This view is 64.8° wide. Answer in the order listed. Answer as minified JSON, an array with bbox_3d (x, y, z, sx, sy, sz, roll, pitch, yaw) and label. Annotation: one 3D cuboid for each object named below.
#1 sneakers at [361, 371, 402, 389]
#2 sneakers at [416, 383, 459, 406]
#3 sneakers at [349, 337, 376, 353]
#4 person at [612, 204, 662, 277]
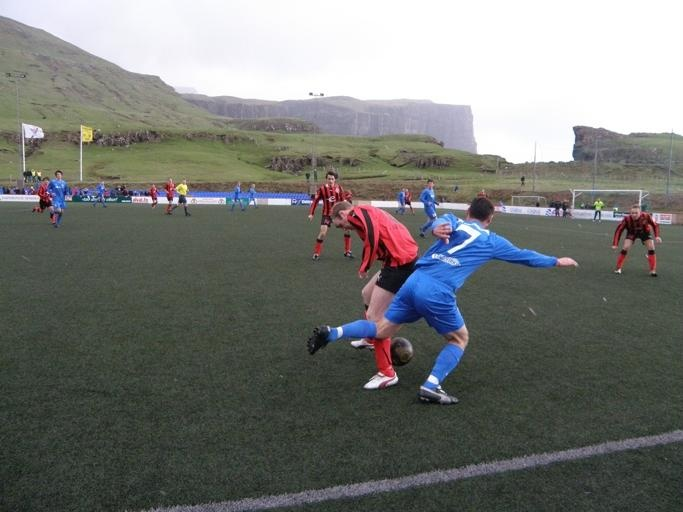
[{"bbox_3d":[0.462,1.385,6.080,0.409,0.198,0.149,-1,-3,-15],"label":"sneakers"},{"bbox_3d":[0.999,1.474,5.760,0.493,0.243,0.175,4,-5,-7],"label":"sneakers"},{"bbox_3d":[0.286,1.156,7.036,0.335,0.167,0.124,6,2,1],"label":"sneakers"},{"bbox_3d":[7.547,-0.421,13.760,1.115,1.779,1.024,-1,9,21],"label":"person"}]
